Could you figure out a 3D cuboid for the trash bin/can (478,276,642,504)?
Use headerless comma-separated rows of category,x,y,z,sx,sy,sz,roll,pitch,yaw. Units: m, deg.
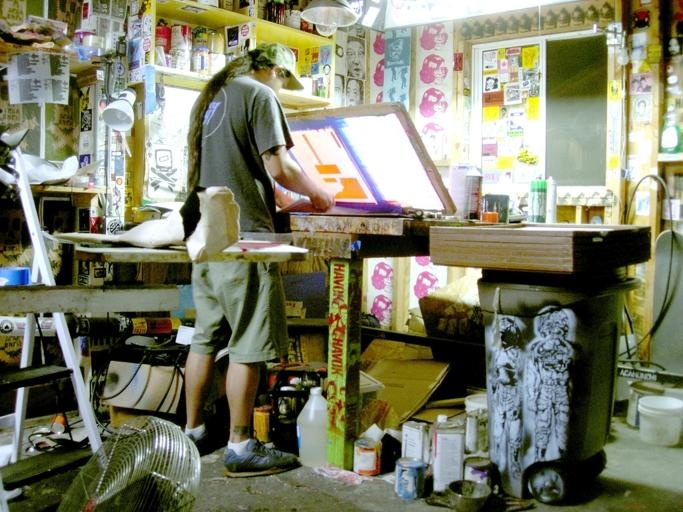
trash bin/can,1.097,0.613,3.724,0.997,1.535,0.874,3,3,44

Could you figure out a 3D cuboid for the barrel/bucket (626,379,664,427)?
barrel/bucket,2.005,0.973,4.209,0.253,0.274,0.264,-1,4,0

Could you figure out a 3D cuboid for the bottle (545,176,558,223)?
bottle,1.373,-0.373,4.184,0.066,0.304,0.279,3,4,17

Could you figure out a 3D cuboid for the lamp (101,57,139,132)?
lamp,-1.457,-1.061,4.181,0.218,0.500,0.578,1,4,-19

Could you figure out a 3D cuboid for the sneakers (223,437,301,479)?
sneakers,-0.435,1.079,3.461,0.417,0.210,0.158,-1,-3,-12

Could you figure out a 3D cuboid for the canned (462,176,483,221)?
canned,0.765,-0.344,3.701,0.099,0.250,0.096,2,4,7

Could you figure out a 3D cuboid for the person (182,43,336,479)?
person,-0.488,-0.021,3.426,0.790,2.329,0.631,5,5,45

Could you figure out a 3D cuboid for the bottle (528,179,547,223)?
bottle,1.270,-0.355,4.132,0.112,0.273,0.235,3,4,17

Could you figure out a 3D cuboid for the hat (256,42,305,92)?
hat,-0.324,-1.117,3.669,0.288,0.156,0.204,31,2,-40

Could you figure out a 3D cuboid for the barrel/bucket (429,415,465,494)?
barrel/bucket,0.550,1.034,3.282,0.156,0.317,0.144,2,4,0
